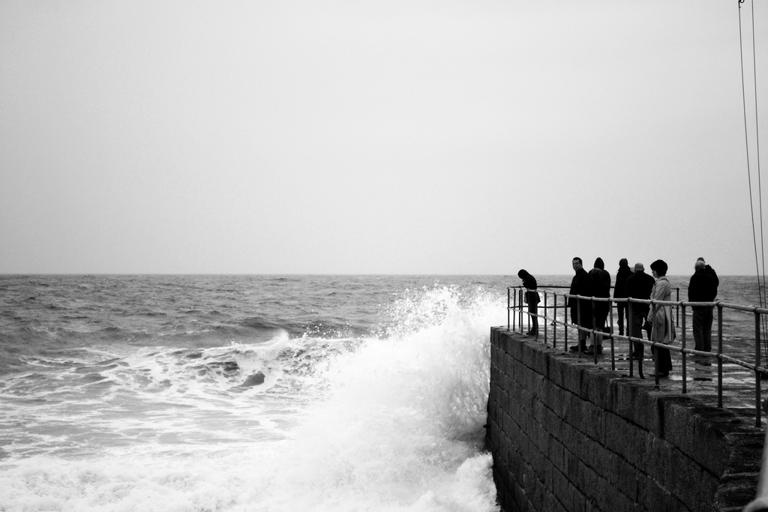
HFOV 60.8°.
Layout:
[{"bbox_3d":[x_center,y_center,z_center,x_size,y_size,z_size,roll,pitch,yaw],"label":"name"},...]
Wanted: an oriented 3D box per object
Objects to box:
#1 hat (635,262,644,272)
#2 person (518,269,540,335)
[{"bbox_3d":[3.676,0.190,9.468,0.087,0.131,0.121,4,14,12],"label":"hat"},{"bbox_3d":[3.086,1.001,13.987,0.387,1.390,2.617,-1,0,12],"label":"person"}]
